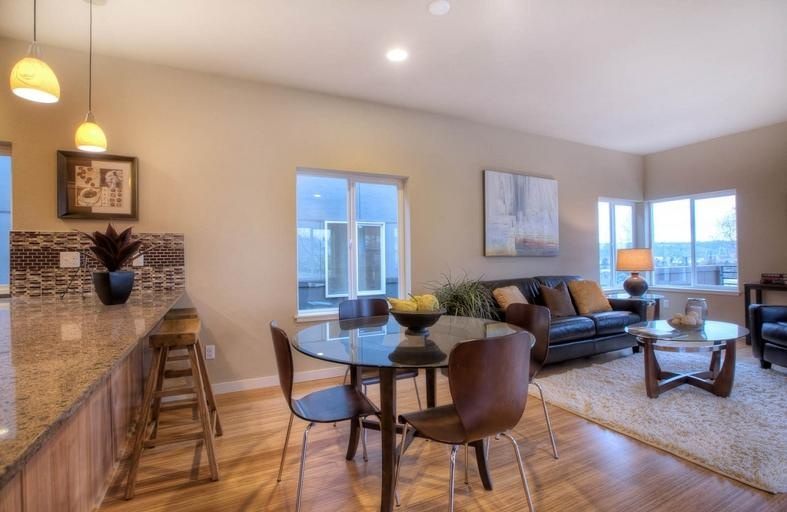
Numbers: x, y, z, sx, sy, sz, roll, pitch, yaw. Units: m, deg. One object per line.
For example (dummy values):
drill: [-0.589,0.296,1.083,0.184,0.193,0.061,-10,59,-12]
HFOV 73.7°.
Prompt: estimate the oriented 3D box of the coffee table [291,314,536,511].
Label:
coffee table: [-0.058,1.086,4.299,1.587,0.959,1.493,0,-4,-26]

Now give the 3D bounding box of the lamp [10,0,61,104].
lamp: [-2.960,-1.711,4.318,0.308,0.939,0.943,-2,3,-35]

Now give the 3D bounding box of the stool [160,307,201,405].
stool: [-1.860,0.865,4.568,0.380,0.610,1.010,1,-2,-21]

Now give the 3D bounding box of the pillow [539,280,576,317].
pillow: [1.993,0.532,6.370,0.413,0.362,0.219,-5,3,-26]

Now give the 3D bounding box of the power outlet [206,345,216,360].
power outlet: [-1.883,0.990,5.391,0.015,0.111,0.157,-9,-7,24]

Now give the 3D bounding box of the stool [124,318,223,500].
stool: [-1.874,1.207,4.530,0.757,1.292,1.067,-1,2,-20]

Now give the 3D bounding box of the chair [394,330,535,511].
chair: [0.519,1.168,3.691,0.880,1.269,0.394,0,3,14]

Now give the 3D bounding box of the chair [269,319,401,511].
chair: [-0.558,1.202,4.190,0.773,1.416,0.798,-1,3,-9]

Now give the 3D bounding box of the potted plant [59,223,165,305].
potted plant: [-2.300,0.071,4.382,0.513,0.673,0.582,-6,-2,-6]

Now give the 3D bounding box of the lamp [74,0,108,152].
lamp: [-2.767,-1.584,4.792,0.254,1.226,0.668,-2,3,-28]

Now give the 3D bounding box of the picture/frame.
picture/frame: [-2.887,-0.675,5.057,0.733,0.714,0.051,0,-3,-24]

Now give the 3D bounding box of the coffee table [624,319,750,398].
coffee table: [3.026,1.073,5.472,1.131,0.680,1.097,-8,4,-43]

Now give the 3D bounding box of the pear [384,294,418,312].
pear: [0.059,0.419,4.265,0.233,0.118,0.128,18,15,10]

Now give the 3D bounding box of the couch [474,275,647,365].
couch: [2.266,0.763,6.529,1.657,0.783,0.823,-3,11,-22]
